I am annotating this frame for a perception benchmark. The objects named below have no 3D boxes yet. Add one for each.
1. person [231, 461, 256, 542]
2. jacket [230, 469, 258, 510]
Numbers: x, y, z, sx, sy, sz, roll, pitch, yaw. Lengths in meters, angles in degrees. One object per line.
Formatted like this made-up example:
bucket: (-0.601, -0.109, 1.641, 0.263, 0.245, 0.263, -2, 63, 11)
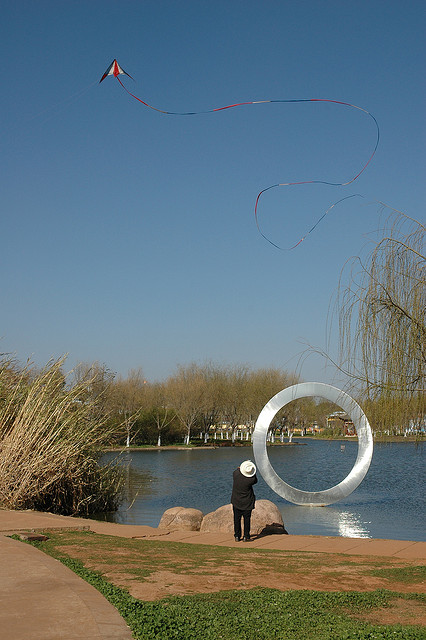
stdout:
person: (0.456, 2.611, 9.863, 0.331, 1.116, 0.387, 2, -10, 2)
jacket: (0.459, 2.464, 9.909, 0.332, 0.564, 0.268, 1, -10, 6)
